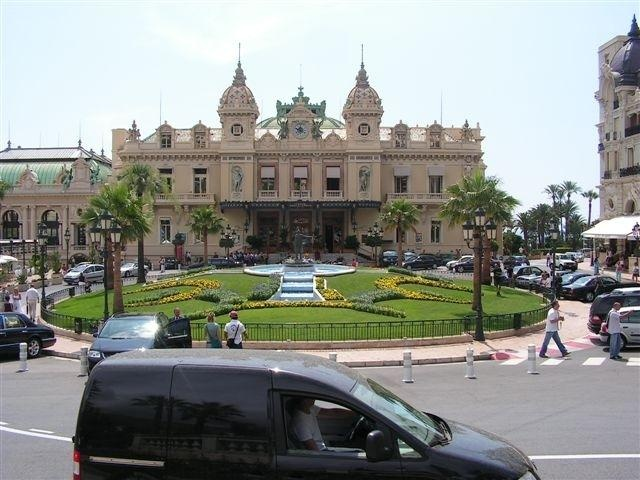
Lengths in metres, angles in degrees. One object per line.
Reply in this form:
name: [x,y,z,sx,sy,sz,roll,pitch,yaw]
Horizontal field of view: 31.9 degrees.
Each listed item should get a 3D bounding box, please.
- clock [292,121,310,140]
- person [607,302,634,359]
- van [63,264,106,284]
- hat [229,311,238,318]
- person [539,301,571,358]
clock: [-1.741,-9.572,99.439,1.490,1.776,0.226,3,-2,-6]
person: [14.742,4.575,55.007,0.852,2.748,1.187,-3,4,5]
van: [-16.920,2.542,81.804,2.030,1.698,3.630,-4,-6,32]
hat: [-4.011,3.520,51.915,0.305,0.224,0.441,2,5,-15]
person: [11.596,4.470,55.299,1.359,2.823,1.095,1,4,3]
